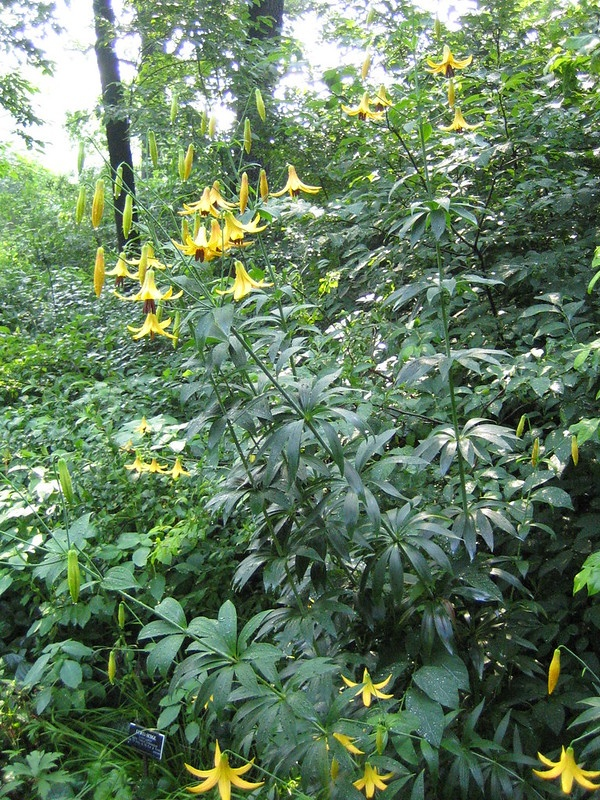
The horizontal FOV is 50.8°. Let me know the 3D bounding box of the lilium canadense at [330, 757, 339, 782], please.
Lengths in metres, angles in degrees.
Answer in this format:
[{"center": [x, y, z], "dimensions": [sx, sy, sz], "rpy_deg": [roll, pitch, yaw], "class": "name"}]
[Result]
[{"center": [0.083, 0.911, 1.553], "dimensions": [0.021, 0.084, 0.013], "rpy_deg": [-5, -21, 19], "class": "lilium canadense"}]
